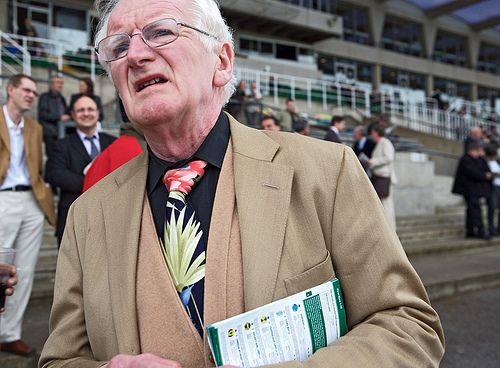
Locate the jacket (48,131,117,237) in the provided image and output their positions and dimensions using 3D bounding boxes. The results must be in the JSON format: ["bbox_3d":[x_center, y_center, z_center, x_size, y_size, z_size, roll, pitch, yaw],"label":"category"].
[{"bbox_3d":[-1.564,-0.161,5.925,0.441,1.089,0.480,13,18,33],"label":"jacket"}]

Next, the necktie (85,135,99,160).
[{"bbox_3d":[-1.451,-0.336,6.040,0.073,0.273,0.051,-4,-24,-8],"label":"necktie"}]

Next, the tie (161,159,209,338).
[{"bbox_3d":[-0.273,0.248,2.698,0.188,0.670,0.054,-16,-22,22],"label":"tie"}]

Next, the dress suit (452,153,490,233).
[{"bbox_3d":[3.781,0.061,11.011,0.426,1.449,0.461,-4,9,-12],"label":"dress suit"}]

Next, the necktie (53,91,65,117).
[{"bbox_3d":[-2.785,-1.165,9.514,0.221,0.379,0.115,-1,-2,-1],"label":"necktie"}]

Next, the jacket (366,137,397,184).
[{"bbox_3d":[1.770,-0.300,8.770,0.438,0.789,0.596,0,-4,-1],"label":"jacket"}]

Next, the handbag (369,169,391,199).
[{"bbox_3d":[1.699,-0.018,8.408,0.328,0.426,0.361,-1,-5,6],"label":"handbag"}]

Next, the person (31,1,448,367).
[{"bbox_3d":[-0.080,0.048,2.648,1.560,1.592,0.593,6,5,22],"label":"person"}]

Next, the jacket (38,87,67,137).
[{"bbox_3d":[-2.727,-0.844,9.137,0.296,1.052,0.370,-3,-1,29],"label":"jacket"}]
